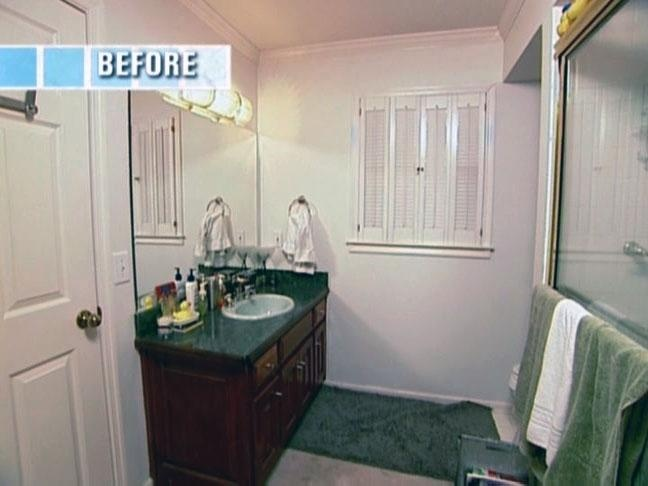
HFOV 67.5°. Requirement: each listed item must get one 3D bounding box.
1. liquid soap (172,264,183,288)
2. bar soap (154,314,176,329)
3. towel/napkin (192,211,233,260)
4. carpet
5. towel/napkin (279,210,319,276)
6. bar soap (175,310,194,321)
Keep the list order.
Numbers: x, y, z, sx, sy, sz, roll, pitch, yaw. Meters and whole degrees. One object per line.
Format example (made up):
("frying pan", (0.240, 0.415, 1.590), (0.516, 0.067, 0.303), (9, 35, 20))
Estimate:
("liquid soap", (-0.806, 0.190, 2.671), (0.020, 0.118, 0.061), (3, 8, 22))
("bar soap", (-0.809, 0.405, 2.466), (0.059, 0.052, 0.062), (-3, 7, -23))
("towel/napkin", (-0.692, -0.043, 2.946), (0.116, 0.473, 0.254), (5, 5, 24))
("carpet", (0.452, 1.199, 3.067), (0.810, 0.104, 0.531), (7, 21, 14))
("towel/napkin", (-0.174, -0.025, 3.421), (0.224, 0.476, 0.175), (1, 7, 11))
("bar soap", (-0.742, 0.382, 2.549), (0.049, 0.027, 0.069), (7, 13, 20))
